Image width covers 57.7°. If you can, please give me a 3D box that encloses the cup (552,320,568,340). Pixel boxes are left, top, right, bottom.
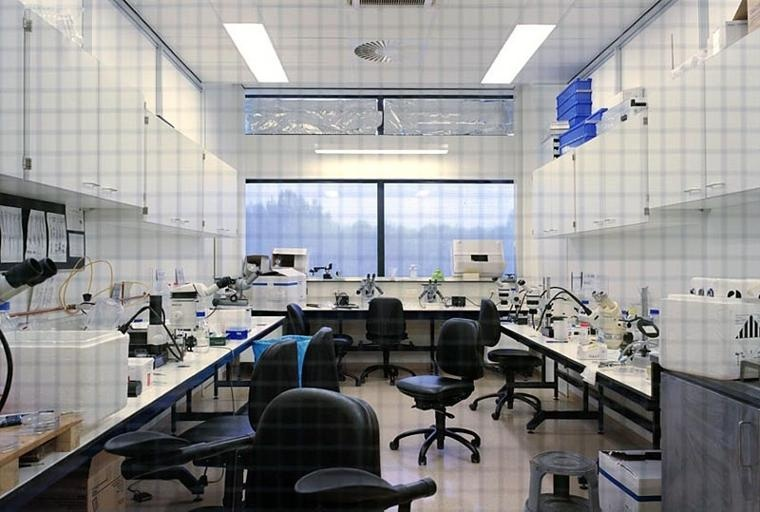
[{"bbox_3d":[1.461,0.589,5.579,0.150,0.151,0.118,-1,-5,10],"label":"cup"}]

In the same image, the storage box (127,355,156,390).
[{"bbox_3d":[-1.432,0.678,4.202,0.159,0.193,0.291,0,-2,-2],"label":"storage box"}]

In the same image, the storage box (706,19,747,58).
[{"bbox_3d":[2.179,-1.334,4.321,0.230,0.204,0.056,2,-8,21],"label":"storage box"}]

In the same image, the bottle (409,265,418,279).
[{"bbox_3d":[0.371,0.161,7.786,0.123,0.176,0.121,1,-2,0],"label":"bottle"}]

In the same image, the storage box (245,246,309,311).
[{"bbox_3d":[-1.059,0.242,7.323,0.748,0.550,0.536,0,-1,-3],"label":"storage box"}]

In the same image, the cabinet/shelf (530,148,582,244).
[{"bbox_3d":[1.659,-0.542,6.446,0.367,0.497,1.037,0,-2,4],"label":"cabinet/shelf"}]

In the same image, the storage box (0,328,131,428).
[{"bbox_3d":[-1.714,0.634,3.844,0.838,0.544,0.459,0,-5,-8],"label":"storage box"}]
